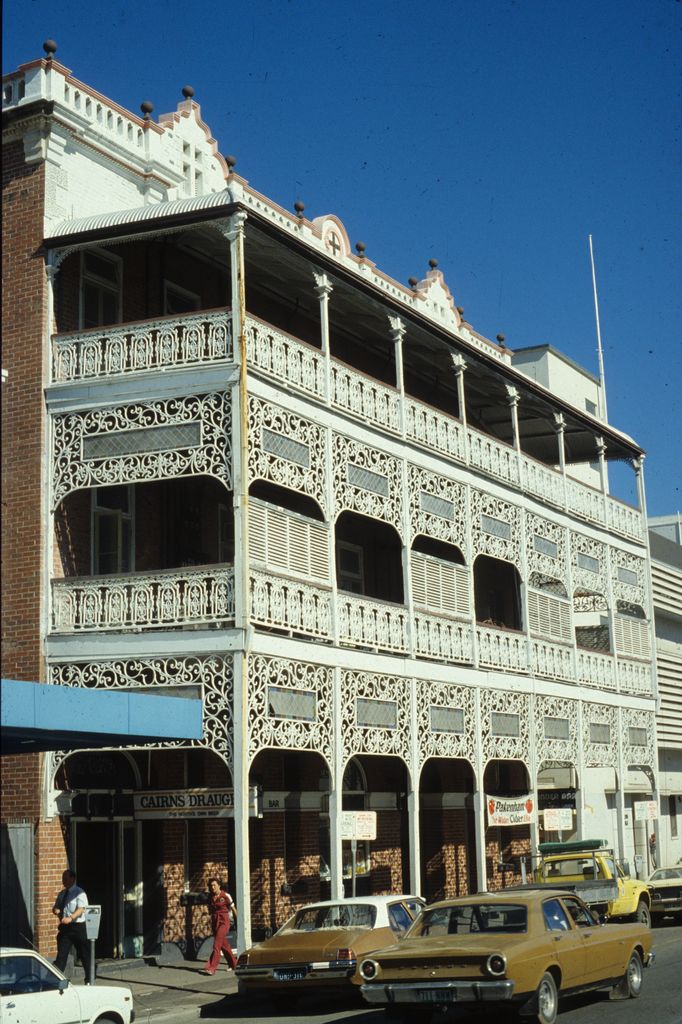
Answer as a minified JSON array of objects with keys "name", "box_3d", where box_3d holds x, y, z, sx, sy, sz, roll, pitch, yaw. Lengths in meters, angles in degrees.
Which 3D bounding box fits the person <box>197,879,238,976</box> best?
[{"name":"person","box_3d":[-1.501,5.124,18.292,0.349,1.133,1.181,-1,-14,-6]}]

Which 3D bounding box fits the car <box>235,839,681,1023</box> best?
[{"name":"car","box_3d":[1.697,3.906,13.200,2.009,0.980,3.532,-12,-21,31]}]
